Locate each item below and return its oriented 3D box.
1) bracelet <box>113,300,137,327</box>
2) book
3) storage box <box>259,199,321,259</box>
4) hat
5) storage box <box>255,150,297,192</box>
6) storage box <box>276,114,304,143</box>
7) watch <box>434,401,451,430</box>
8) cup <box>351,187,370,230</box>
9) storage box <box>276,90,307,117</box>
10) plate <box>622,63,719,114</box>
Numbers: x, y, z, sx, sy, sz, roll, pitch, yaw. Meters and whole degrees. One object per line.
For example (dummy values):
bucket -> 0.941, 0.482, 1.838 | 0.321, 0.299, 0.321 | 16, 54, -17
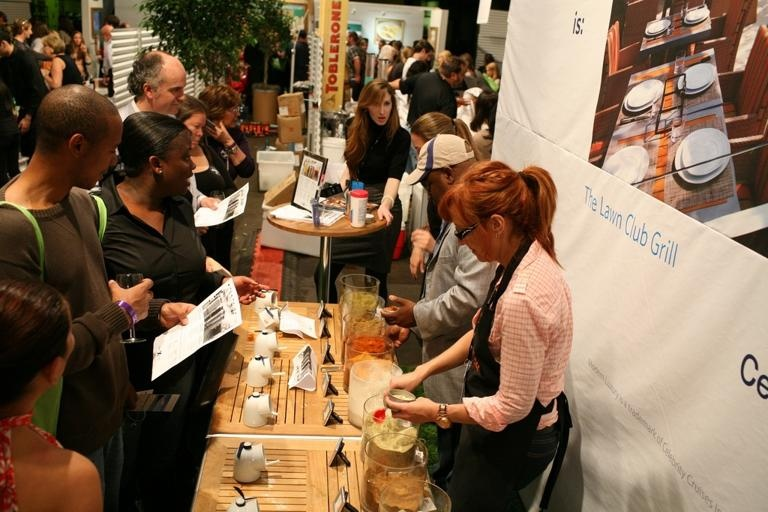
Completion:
bracelet -> -1.106, 0.237, 2.306 | 0.037, 0.097, 0.092 | -33, 25, -35
book -> -0.946, 0.379, 2.639 | 0.363, 0.376, 0.274 | -32, 68, -32
storage box -> -1.162, -0.311, 6.607 | 0.647, 0.440, 0.697 | 11, 18, -10
hat -> 0.316, -0.560, 3.259 | 0.385, 0.231, 0.261 | -9, 21, 29
storage box -> -1.770, -1.452, 8.871 | 0.675, 0.584, 0.873 | -1, 23, -3
storage box -> -1.748, -2.423, 9.999 | 0.481, 0.521, 0.509 | 1, 28, -4
watch -> 0.251, 0.679, 2.281 | 0.063, 0.110, 0.103 | -4, 49, 10
cup -> -0.210, -0.397, 4.255 | 0.122, 0.290, 0.144 | -2, 22, -9
storage box -> -1.835, -2.851, 10.281 | 0.568, 0.634, 0.590 | 8, 4, -1
plate -> 1.277, -0.756, 2.417 | 0.078, 0.264, 0.464 | -4, 24, -14
